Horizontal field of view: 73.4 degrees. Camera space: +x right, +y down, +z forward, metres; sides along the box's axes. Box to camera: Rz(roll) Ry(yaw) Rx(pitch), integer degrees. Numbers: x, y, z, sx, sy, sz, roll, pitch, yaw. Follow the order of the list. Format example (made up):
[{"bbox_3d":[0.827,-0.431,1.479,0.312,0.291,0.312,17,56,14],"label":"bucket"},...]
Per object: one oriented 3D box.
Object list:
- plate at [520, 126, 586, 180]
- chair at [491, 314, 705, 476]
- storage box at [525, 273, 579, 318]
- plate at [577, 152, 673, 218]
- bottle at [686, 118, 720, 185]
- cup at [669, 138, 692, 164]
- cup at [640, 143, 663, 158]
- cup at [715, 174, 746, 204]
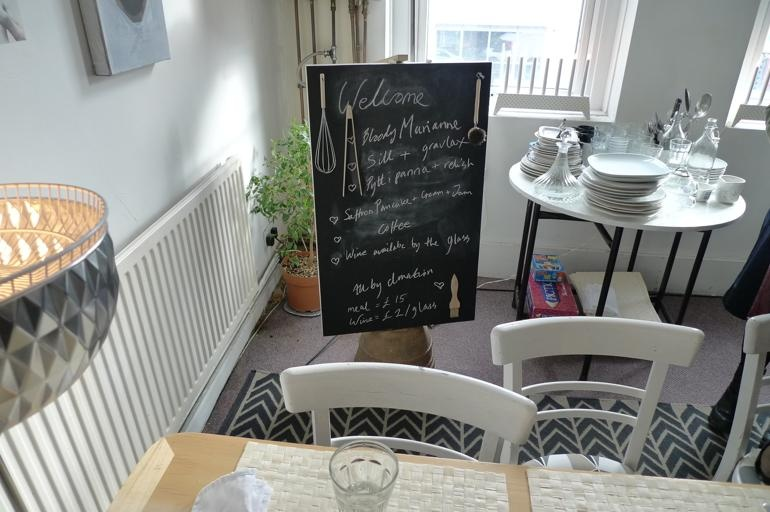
[{"bbox_3d":[0.864,-0.575,2.729,0.289,0.142,0.322,28,50,35],"label":"plate"},{"bbox_3d":[0.844,0.573,2.009,0.526,0.799,0.524,0,50,3],"label":"chair"},{"bbox_3d":[0.956,0.253,2.959,0.208,0.095,0.396,-2,33,7],"label":"storage box"},{"bbox_3d":[1.140,-0.358,2.496,0.380,0.195,0.370,12,30,19],"label":"plate"},{"bbox_3d":[1.578,-0.533,2.563,0.124,0.288,0.221,17,32,28],"label":"bottle"},{"bbox_3d":[1.499,-0.532,2.629,0.086,0.139,0.088,-4,33,3],"label":"cup"},{"bbox_3d":[1.408,-0.563,2.738,0.065,0.081,0.087,-12,35,12],"label":"cup"},{"bbox_3d":[1.670,-0.346,2.538,0.102,0.158,0.155,17,31,21],"label":"cup"}]
